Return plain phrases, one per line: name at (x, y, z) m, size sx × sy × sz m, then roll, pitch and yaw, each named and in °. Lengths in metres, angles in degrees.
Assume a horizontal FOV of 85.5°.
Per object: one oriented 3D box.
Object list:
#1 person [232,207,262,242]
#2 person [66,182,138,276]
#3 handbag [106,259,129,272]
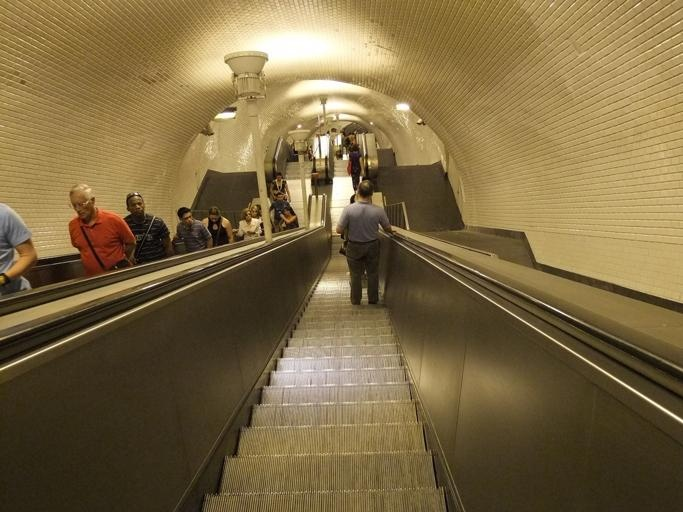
person at (-1.922, -0.653, 7.815) m, size 0.390 × 0.674 × 1.026 m, roll -4°, pitch 9°, yaw -17°
person at (-2.054, -0.223, 3.224) m, size 0.454 × 0.768 × 0.289 m, roll -8°, pitch 11°, yaw -37°
handbag at (-1.717, 0.071, 2.858) m, size 0.075 × 0.091 × 0.086 m, roll -6°, pitch 9°, yaw -16°
